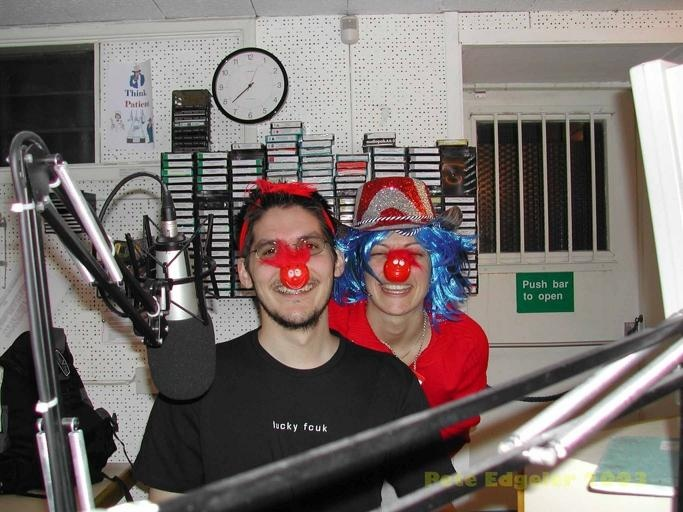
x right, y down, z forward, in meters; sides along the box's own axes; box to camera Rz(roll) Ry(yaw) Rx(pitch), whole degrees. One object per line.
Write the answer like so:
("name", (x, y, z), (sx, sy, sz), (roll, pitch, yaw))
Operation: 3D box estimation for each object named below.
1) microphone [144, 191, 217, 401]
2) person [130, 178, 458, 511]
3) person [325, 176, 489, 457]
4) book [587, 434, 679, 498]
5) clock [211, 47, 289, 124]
("microphone", (-0.584, 0.148, 2.609), (0.228, 0.752, 0.212), (0, 6, -2))
("person", (-0.148, 0.357, 2.992), (1.473, 1.521, 0.572), (-2, -14, -7))
("person", (0.327, 0.404, 3.751), (0.889, 1.568, 0.806), (4, -4, 2))
("book", (1.131, 0.819, 2.774), (0.272, 0.069, 0.294), (1, 31, 17))
("clock", (-0.528, -0.981, 4.204), (0.424, 0.462, 0.046), (-2, 2, 2))
